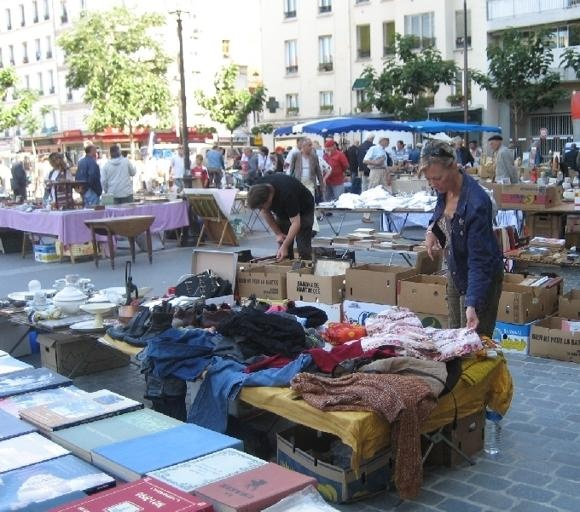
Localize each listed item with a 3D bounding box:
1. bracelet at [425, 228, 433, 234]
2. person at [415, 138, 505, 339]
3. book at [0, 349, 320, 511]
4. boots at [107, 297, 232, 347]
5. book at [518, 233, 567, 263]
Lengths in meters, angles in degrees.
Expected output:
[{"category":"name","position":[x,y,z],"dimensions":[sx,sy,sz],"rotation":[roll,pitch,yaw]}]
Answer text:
[{"category":"bracelet","position":[0.948,-0.160,3.840],"dimensions":[0.030,0.031,0.033],"rotation":[-3,17,-9]},{"category":"person","position":[1.088,-0.068,3.564],"dimensions":[0.512,1.253,0.607],"rotation":[5,8,21]},{"category":"book","position":[-0.685,0.779,2.295],"dimensions":[0.681,0.079,0.677],"rotation":[8,10,43]},{"category":"boots","position":[-0.959,0.513,4.477],"dimensions":[0.597,0.183,0.441],"rotation":[-7,10,-41]},{"category":"book","position":[3.549,-0.040,7.888],"dimensions":[0.494,0.119,0.540],"rotation":[6,19,35]}]
